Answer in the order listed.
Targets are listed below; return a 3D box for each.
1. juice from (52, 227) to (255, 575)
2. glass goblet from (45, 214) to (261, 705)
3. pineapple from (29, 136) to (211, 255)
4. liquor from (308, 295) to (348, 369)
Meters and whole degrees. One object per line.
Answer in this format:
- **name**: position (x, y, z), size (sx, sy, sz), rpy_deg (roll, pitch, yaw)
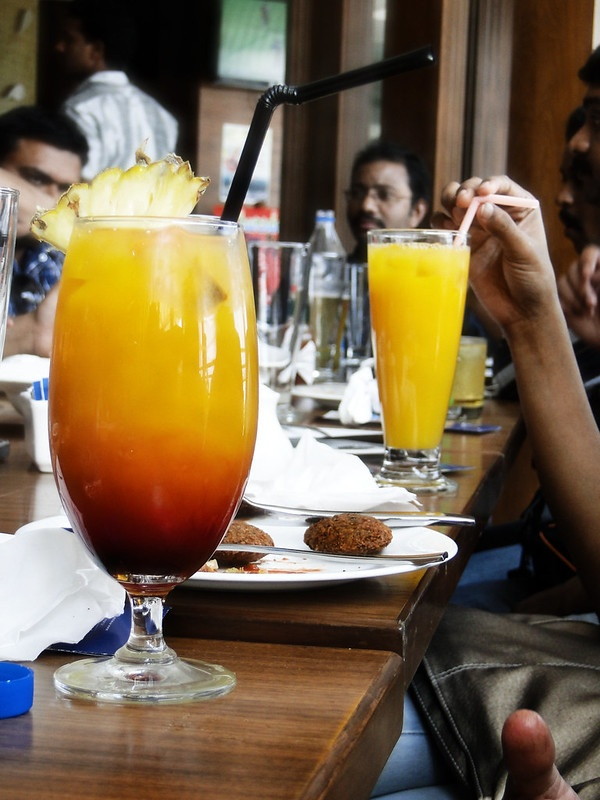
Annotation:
- **juice**: position (-0.057, 0.000, 0.308), size (0.079, 0.142, 0.047), rpy_deg (1, 5, -13)
- **glass goblet**: position (-0.062, 0.022, 0.324), size (0.091, 0.182, 0.080), rpy_deg (2, -10, -13)
- **pineapple**: position (-0.083, -0.086, 0.364), size (0.069, 0.031, 0.058), rpy_deg (-9, 14, 34)
- **liquor**: position (0.060, -0.150, 1.757), size (0.066, 0.175, 0.120), rpy_deg (4, 5, 19)
